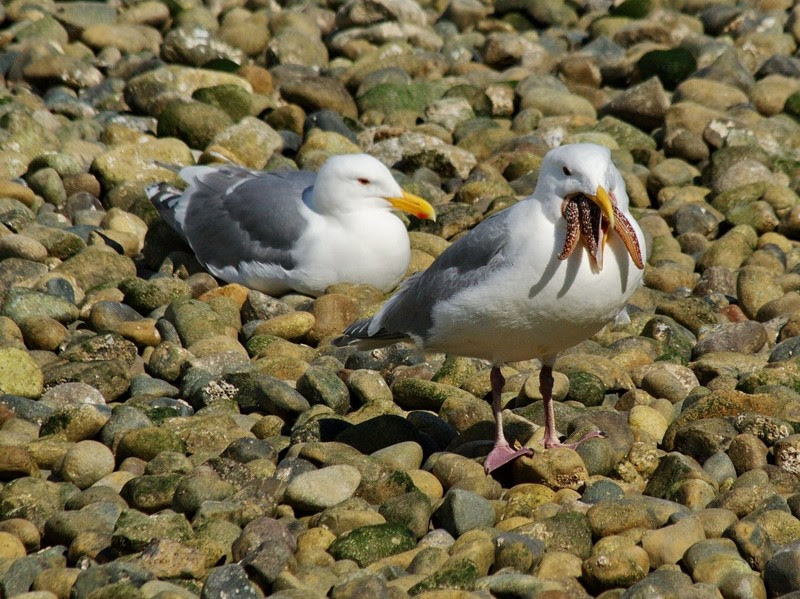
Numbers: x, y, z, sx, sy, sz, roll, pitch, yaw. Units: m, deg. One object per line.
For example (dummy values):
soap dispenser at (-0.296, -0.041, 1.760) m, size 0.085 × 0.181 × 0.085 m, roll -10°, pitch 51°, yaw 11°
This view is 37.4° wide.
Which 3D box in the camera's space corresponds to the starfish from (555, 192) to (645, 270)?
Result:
starfish at (1.396, -0.452, 8.020) m, size 0.607 × 0.317 × 0.500 m, roll 3°, pitch 75°, yaw -4°
